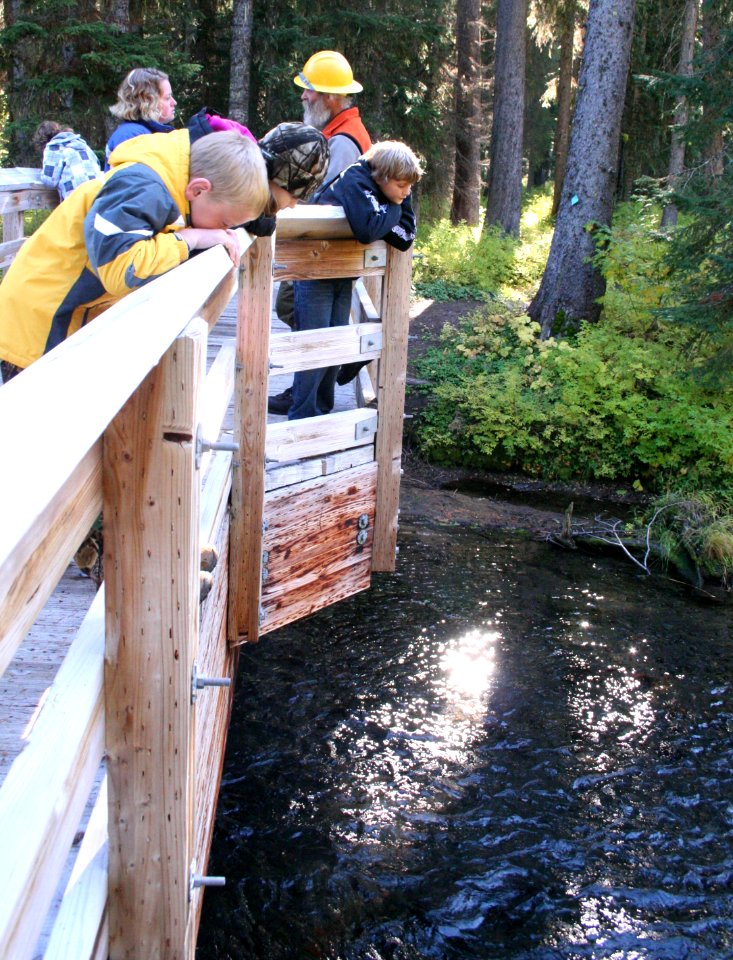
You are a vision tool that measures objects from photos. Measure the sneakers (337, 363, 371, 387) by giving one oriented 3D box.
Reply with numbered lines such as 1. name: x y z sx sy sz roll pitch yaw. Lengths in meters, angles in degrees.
1. sneakers: -0.077 -0.645 5.352 0.167 0.085 0.121 -24 14 -24

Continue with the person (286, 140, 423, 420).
1. person: -0.117 -0.913 4.382 0.579 1.475 0.422 11 27 -2

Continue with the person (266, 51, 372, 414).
1. person: -0.291 -1.529 5.409 0.650 1.950 0.631 17 27 19
